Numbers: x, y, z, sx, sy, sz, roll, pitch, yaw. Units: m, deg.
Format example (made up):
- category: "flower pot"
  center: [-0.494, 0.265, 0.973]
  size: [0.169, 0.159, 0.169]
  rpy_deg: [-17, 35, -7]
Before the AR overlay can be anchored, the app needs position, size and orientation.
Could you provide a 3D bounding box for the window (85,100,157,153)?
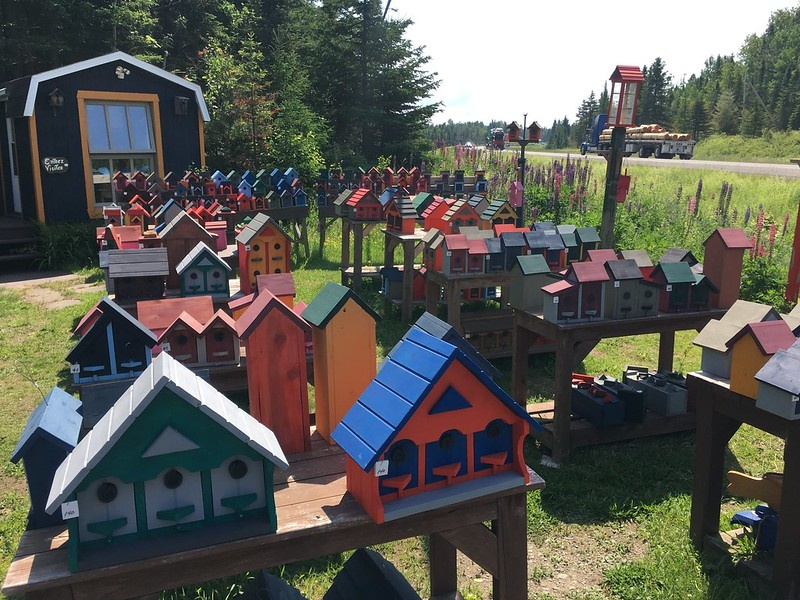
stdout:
- category: "window"
  center: [-6.042, -3.744, 18.302]
  size: [0.075, 0.870, 1.077]
  rpy_deg: [4, 12, 36]
